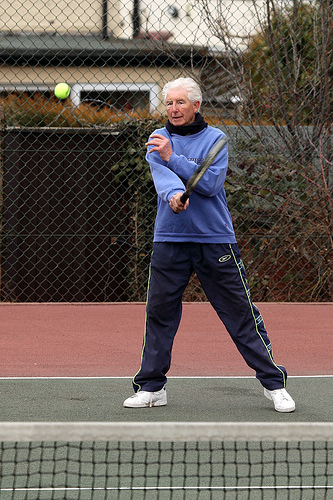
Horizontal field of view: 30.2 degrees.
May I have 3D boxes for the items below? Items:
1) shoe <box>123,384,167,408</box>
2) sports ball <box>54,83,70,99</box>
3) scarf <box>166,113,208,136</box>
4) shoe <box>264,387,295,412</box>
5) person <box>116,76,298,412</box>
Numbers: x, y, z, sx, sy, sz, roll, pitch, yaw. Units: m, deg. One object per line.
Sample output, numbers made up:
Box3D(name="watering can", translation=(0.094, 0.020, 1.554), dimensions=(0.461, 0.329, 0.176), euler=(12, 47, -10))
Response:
Box3D(name="shoe", translation=(-0.097, 0.740, 3.097), dimensions=(0.252, 0.090, 0.075), euler=(2, -2, -16))
Box3D(name="sports ball", translation=(-1.035, -1.575, 6.079), dimensions=(0.133, 0.184, 0.237), euler=(0, 3, -9))
Box3D(name="scarf", translation=(0.096, -0.626, 3.065), dimensions=(0.204, 0.120, 0.123), euler=(1, 3, 0))
Box3D(name="shoe", translation=(0.552, 0.721, 2.976), dimensions=(0.070, 0.060, 0.174), euler=(-13, 9, -26))
Box3D(name="person", translation=(0.160, -0.040, 3.449), dimensions=(0.868, 1.671, 1.574), euler=(1, 3, -5))
